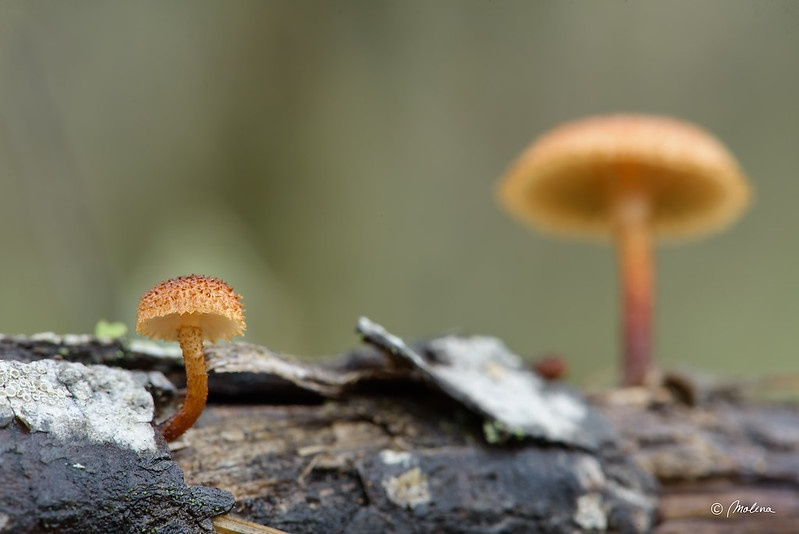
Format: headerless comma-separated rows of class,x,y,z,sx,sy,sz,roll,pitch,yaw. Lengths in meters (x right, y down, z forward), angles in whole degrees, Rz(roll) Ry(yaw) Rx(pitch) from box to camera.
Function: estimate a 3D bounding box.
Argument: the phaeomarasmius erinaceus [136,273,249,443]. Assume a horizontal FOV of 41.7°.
phaeomarasmius erinaceus,-0.729,0.317,3.668,0.382,0.534,0.292,-2,-17,-7
